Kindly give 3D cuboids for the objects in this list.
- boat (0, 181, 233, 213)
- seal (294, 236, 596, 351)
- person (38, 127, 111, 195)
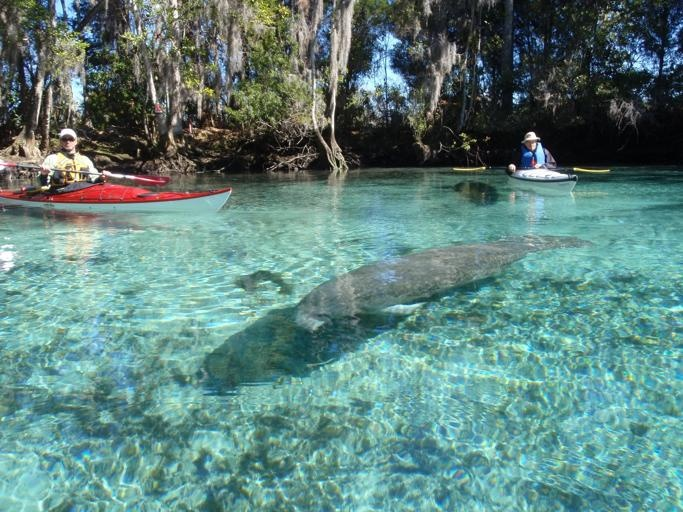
[{"bbox_3d":[-4.998,-1.264,10.625,5.241,0.649,0.836,1,10,11],"label":"boat"},{"bbox_3d":[1.034,0.254,5.639,3.581,0.724,1.162,-14,7,-26],"label":"seal"},{"bbox_3d":[-6.039,-1.809,10.829,1.265,1.973,1.094,-5,15,-31],"label":"person"}]
